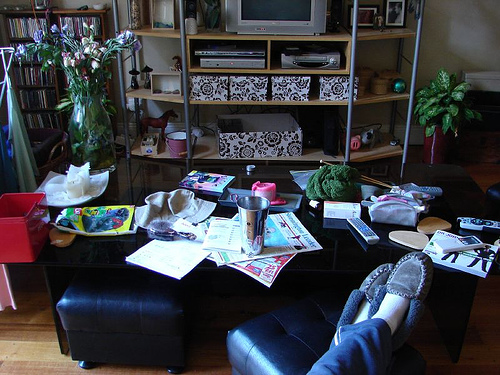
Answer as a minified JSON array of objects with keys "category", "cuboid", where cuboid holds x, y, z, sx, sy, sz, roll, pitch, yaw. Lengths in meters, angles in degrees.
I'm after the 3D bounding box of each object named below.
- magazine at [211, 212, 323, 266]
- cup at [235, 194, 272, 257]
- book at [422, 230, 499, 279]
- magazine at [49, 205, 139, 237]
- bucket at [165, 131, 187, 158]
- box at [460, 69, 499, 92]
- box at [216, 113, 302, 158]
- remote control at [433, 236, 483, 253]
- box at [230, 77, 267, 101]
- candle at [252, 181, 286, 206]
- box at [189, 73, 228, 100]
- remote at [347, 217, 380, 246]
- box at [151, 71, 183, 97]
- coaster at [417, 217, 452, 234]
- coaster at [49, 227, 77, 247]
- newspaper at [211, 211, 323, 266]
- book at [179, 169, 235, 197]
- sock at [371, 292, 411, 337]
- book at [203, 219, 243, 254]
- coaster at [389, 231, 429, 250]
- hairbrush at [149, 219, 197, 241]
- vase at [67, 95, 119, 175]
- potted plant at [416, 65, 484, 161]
[{"category":"magazine","cuboid":[0.052,0.198,1.757,0.494,0.004,0.560,-11,18,-21]},{"category":"cup","cuboid":[0.018,0.122,1.637,0.140,0.213,0.280,-2,20,0]},{"category":"book","cuboid":[0.824,0.261,1.560,0.273,0.080,0.224,8,23,24]},{"category":"magazine","cuboid":[-0.675,0.148,1.777,0.314,0.061,0.237,1,22,-11]},{"category":"bucket","cuboid":[-0.597,-0.368,3.285,0.203,0.155,0.207,1,31,-1]},{"category":"box","cuboid":[2.203,-1.016,3.848,0.401,0.182,0.222,3,35,7]},{"category":"box","cuboid":[0.061,-0.431,3.300,0.675,0.295,0.397,-4,20,-5]},{"category":"remote control","cuboid":[0.834,0.210,1.578,0.156,0.027,0.072,-6,25,-10]},{"category":"box","cuboid":[-0.013,-0.798,3.212,0.277,0.169,0.154,-3,20,-21]},{"category":"candle","cuboid":[0.092,0.026,1.858,0.152,0.111,0.091,-3,23,5]},{"category":"box","cuboid":[-0.347,-0.840,3.290,0.353,0.198,0.354,-6,24,-17]},{"category":"remote","cuboid":[0.482,0.182,1.699,0.048,0.034,0.148,-6,27,-10]},{"category":"box","cuboid":[-0.684,-0.853,3.303,0.200,0.144,0.106,1,19,1]},{"category":"coaster","cuboid":[0.794,0.163,1.726,0.083,0.011,0.078,4,31,18]},{"category":"coaster","cuboid":[-0.793,0.210,1.666,0.133,0.035,0.080,6,22,19]},{"category":"newspaper","cuboid":[0.126,0.220,1.697,0.265,0.002,0.237,-7,28,-10]},{"category":"book","cuboid":[-0.210,-0.034,2.095,0.243,0.055,0.238,6,22,21]},{"category":"sock","cuboid":[0.431,0.383,1.210,0.075,0.089,0.104,14,26,37]},{"category":"book","cuboid":[-0.107,0.196,1.679,0.154,0.022,0.215,4,28,2]},{"category":"coaster","cuboid":[0.655,0.211,1.636,0.103,0.011,0.079,18,31,35]},{"category":"hairbrush","cuboid":[-0.325,0.181,1.670,0.189,0.068,0.122,15,26,37]},{"category":"vase","cuboid":[-0.861,-0.296,2.161,0.239,0.425,0.243,13,25,24]},{"category":"potted plant","cuboid":[1.747,-0.530,3.504,0.532,0.738,0.525,7,-6,-21]}]
